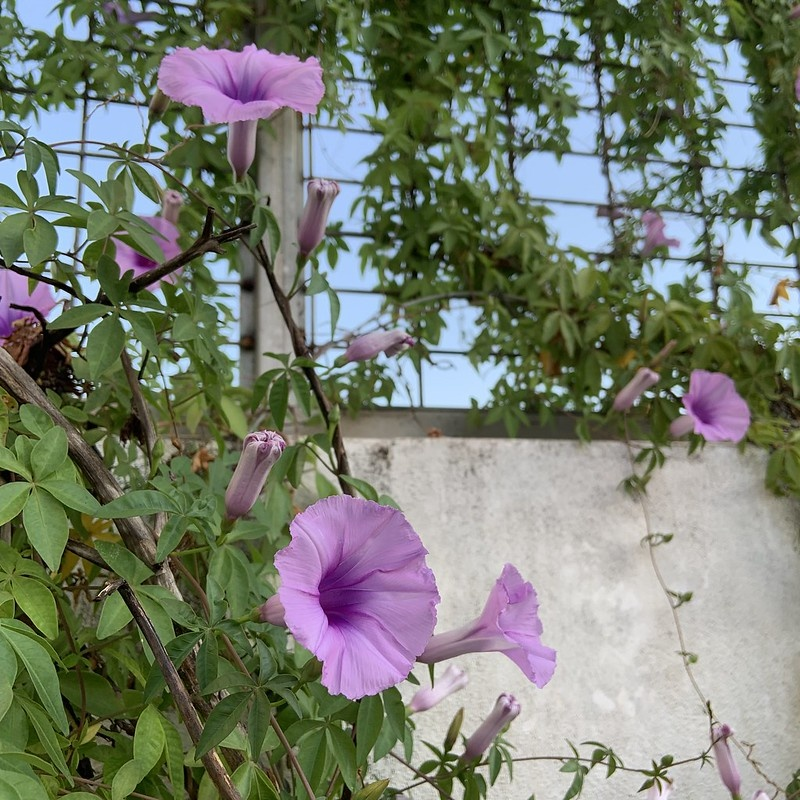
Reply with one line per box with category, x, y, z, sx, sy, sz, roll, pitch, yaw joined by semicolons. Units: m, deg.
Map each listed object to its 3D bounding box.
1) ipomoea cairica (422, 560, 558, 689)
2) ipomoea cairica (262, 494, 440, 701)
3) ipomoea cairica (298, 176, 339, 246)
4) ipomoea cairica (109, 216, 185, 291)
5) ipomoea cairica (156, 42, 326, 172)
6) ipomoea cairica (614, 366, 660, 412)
ipomoea cairica;0.113;0.351;3.054;0.155;0.220;0.163;-22;96;-66
ipomoea cairica;-0.063;0.282;2.936;0.229;0.182;0.197;-7;36;-26
ipomoea cairica;-0.138;-0.265;3.178;0.039;0.041;0.138;16;68;-12
ipomoea cairica;-0.434;-0.245;3.390;0.110;0.134;0.051;24;26;19
ipomoea cairica;-0.239;-0.405;3.121;0.202;0.199;0.188;15;68;-35
ipomoea cairica;0.431;-0.014;3.742;0.052;0.098;0.037;38;29;3
